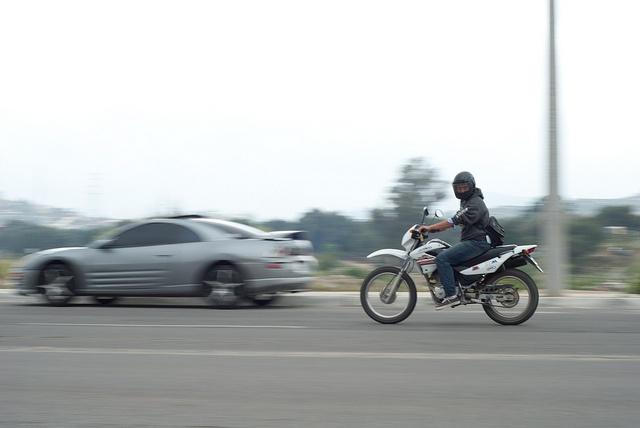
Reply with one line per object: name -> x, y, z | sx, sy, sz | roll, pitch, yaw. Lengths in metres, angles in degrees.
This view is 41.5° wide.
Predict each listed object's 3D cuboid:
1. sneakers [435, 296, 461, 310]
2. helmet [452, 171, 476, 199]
sneakers -> 2.151, 1.453, 13.741 | 0.646, 0.152, 0.153 | -8, -28, 6
helmet -> 2.441, -0.492, 14.110 | 0.460, 0.303, 0.421 | -10, 4, 12
